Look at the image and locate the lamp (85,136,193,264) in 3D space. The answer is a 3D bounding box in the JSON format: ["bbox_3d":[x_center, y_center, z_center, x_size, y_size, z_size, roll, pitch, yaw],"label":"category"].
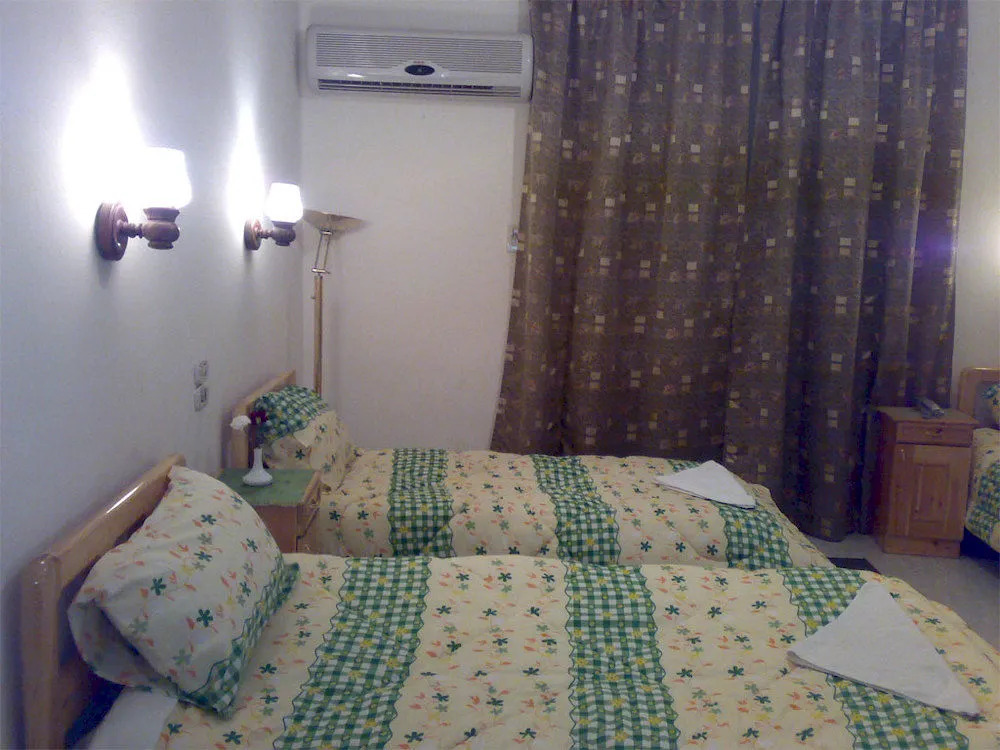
[{"bbox_3d":[-1.179,-0.558,2.585,0.253,0.350,0.201,1,4,5],"label":"lamp"}]

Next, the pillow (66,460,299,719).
[{"bbox_3d":[-0.942,0.594,2.438,0.487,0.279,0.846,19,18,-9],"label":"pillow"}]

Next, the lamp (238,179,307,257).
[{"bbox_3d":[-1.071,-0.771,3.783,0.347,0.507,0.239,2,22,-13],"label":"lamp"}]

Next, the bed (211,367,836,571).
[{"bbox_3d":[0.172,0.570,3.466,1.927,0.656,1.185,0,14,0],"label":"bed"}]

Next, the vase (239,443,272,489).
[{"bbox_3d":[-0.985,0.375,3.235,0.146,0.168,0.147,0,-3,-1],"label":"vase"}]

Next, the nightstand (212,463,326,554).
[{"bbox_3d":[-0.954,0.594,3.215,0.256,0.333,0.344,1,23,-14],"label":"nightstand"}]
